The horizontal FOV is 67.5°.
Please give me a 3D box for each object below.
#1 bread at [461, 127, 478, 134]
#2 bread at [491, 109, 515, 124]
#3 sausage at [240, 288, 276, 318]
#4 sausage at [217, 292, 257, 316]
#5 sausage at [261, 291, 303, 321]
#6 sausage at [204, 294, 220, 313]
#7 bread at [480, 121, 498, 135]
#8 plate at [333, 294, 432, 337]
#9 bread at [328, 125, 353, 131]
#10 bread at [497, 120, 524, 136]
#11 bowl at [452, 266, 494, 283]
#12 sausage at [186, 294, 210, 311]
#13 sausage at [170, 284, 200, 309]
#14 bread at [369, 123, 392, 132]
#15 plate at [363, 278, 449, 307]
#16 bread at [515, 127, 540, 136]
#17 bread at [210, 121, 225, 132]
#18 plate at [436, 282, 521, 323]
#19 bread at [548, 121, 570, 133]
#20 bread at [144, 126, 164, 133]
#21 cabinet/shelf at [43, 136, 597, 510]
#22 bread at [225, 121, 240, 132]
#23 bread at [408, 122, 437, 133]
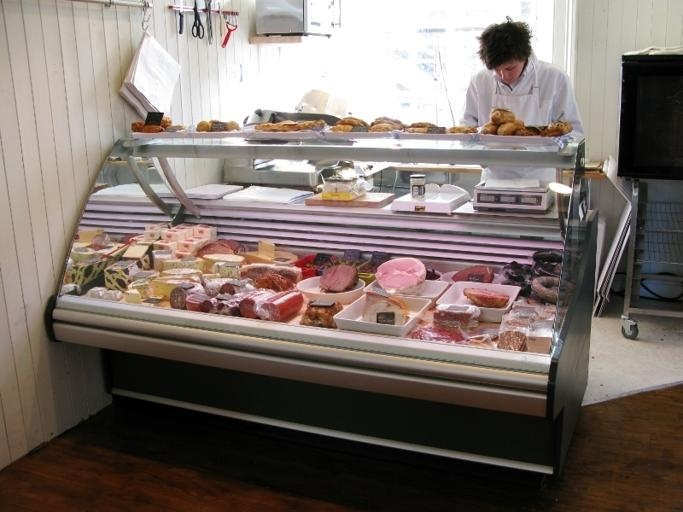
[{"bbox_3d":[0.541,-0.541,2.189,0.055,0.014,0.052,14,21,40],"label":"bread"},{"bbox_3d":[0.672,-0.594,2.166,0.076,0.040,0.092,11,20,36],"label":"bread"},{"bbox_3d":[-0.372,0.225,2.441,0.152,0.041,0.129,1,23,32],"label":"sausage"},{"bbox_3d":[-0.498,0.227,2.449,0.096,0.042,0.146,8,16,19],"label":"sausage"},{"bbox_3d":[-0.254,0.242,2.391,0.141,0.081,0.237,2,11,26],"label":"sausage"},{"bbox_3d":[-0.590,0.238,2.440,0.087,0.058,0.031,5,-10,5],"label":"sausage"},{"bbox_3d":[0.612,-0.539,2.149,0.065,0.046,0.095,6,22,24],"label":"bread"},{"bbox_3d":[0.188,0.236,2.310,0.319,0.133,0.330,7,21,25],"label":"plate"},{"bbox_3d":[0.001,-0.584,2.336,0.063,0.013,0.064,8,14,36],"label":"bread"},{"bbox_3d":[0.691,-0.527,2.125,0.099,0.023,0.083,-7,10,-10],"label":"bread"},{"bbox_3d":[0.627,0.088,2.453,0.133,0.026,0.093,3,10,29],"label":"bowl"},{"bbox_3d":[-0.656,0.224,2.457,0.122,0.032,0.065,8,16,22],"label":"sausage"},{"bbox_3d":[-0.754,0.193,2.586,0.145,0.112,0.159,5,7,21],"label":"sausage"},{"bbox_3d":[0.177,-0.573,2.266,0.109,0.031,0.066,5,21,19],"label":"bread"},{"bbox_3d":[0.348,0.170,2.477,0.246,0.032,0.156,5,16,27],"label":"plate"},{"bbox_3d":[0.761,-0.518,2.127,0.062,0.020,0.068,2,9,16],"label":"bread"},{"bbox_3d":[-0.591,-0.652,2.559,0.077,0.037,0.064,1,8,0],"label":"bread"},{"bbox_3d":[0.620,0.202,2.351,0.324,0.132,0.208,7,23,26],"label":"plate"},{"bbox_3d":[0.887,-0.537,2.127,0.081,0.027,0.090,6,16,24],"label":"bread"},{"bbox_3d":[-0.949,-0.667,2.663,0.121,0.030,0.038,4,22,18],"label":"bread"},{"bbox_3d":[0.014,0.056,2.954,3.051,1.415,1.394,6,30,36],"label":"cabinet/shelf"},{"bbox_3d":[-0.512,-0.648,2.562,0.069,0.023,0.052,2,58,-11],"label":"bread"},{"bbox_3d":[0.354,-0.566,2.252,0.095,0.025,0.101,2,9,12],"label":"bread"}]
